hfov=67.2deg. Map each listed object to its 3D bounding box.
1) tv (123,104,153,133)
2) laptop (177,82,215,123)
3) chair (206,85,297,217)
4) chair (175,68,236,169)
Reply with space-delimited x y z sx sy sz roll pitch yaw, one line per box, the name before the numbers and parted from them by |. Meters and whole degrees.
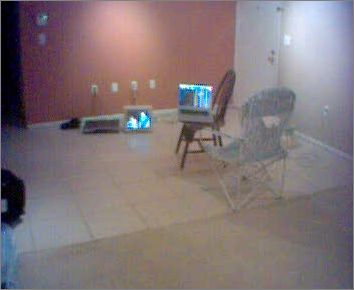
tv | -0.588 -0.497 4.060 0.459 0.417 0.313 -5 40 -18
laptop | 0.193 -0.477 2.707 0.317 0.398 0.299 3 -4 2
chair | 0.571 -0.046 2.170 0.654 0.927 0.653 14 23 38
chair | 0.317 -0.342 2.906 0.511 1.020 0.501 3 11 12
